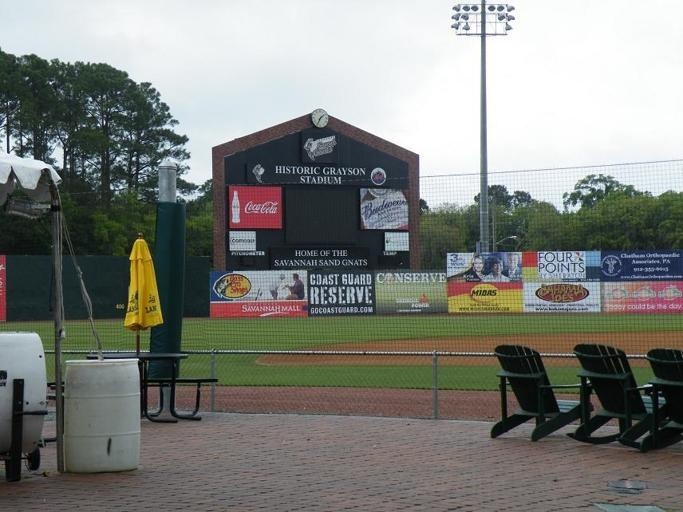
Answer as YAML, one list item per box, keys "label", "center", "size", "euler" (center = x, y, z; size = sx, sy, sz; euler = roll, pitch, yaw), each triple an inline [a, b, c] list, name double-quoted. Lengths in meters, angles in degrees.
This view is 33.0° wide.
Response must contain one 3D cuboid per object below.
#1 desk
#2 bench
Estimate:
- label: "desk"
  center: [-3.457, 2.466, 22.081]
  size: [1.721, 0.924, 1.297]
  euler: [-1, -2, 5]
- label: "bench"
  center: [-3.197, 2.686, 22.153]
  size: [1.056, 0.622, 1.044]
  euler: [0, -1, 1]
